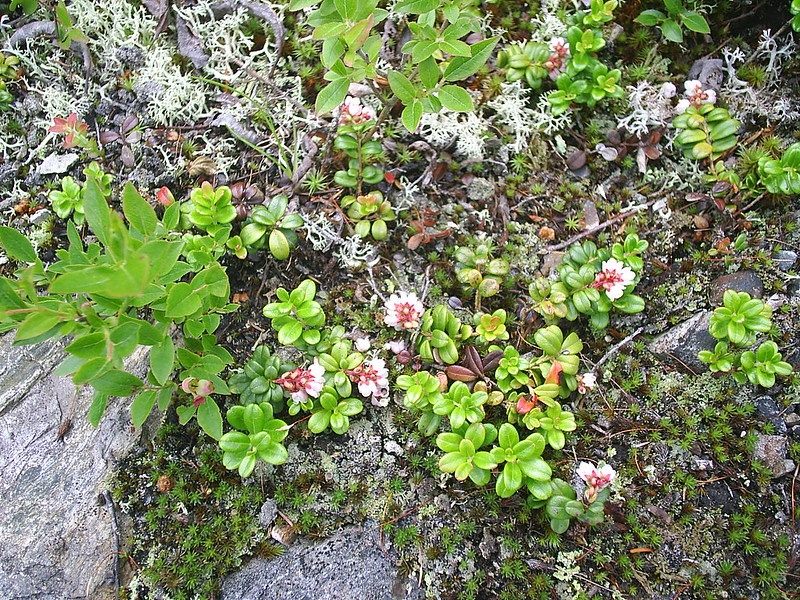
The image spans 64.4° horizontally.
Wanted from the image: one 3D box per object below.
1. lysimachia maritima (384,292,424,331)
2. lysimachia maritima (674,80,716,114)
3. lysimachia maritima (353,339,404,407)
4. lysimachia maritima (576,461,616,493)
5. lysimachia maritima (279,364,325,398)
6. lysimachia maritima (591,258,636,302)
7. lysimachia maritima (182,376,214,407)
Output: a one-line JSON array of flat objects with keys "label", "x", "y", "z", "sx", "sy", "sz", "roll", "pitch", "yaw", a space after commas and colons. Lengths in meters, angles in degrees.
[{"label": "lysimachia maritima", "x": 0.025, "y": 0.077, "z": 4.414, "sx": 0.284, "sy": 0.215, "sz": 0.274, "roll": 14, "pitch": 79, "yaw": 11}, {"label": "lysimachia maritima", "x": 2.147, "y": -1.460, "z": 4.591, "sx": 0.251, "sy": 0.105, "sz": 0.260, "roll": -9, "pitch": 72, "yaw": 18}, {"label": "lysimachia maritima", "x": -0.155, "y": 0.463, "z": 4.225, "sx": 0.408, "sy": 0.166, "sz": 0.427, "roll": -7, "pitch": 79, "yaw": -21}, {"label": "lysimachia maritima", "x": 1.299, "y": 1.184, "z": 4.225, "sx": 0.193, "sy": 0.134, "sz": 0.209, "roll": -23, "pitch": 47, "yaw": -31}, {"label": "lysimachia maritima", "x": -0.663, "y": 0.540, "z": 4.305, "sx": 0.316, "sy": 0.175, "sz": 0.225, "roll": 3, "pitch": 77, "yaw": 8}, {"label": "lysimachia maritima", "x": 1.495, "y": -0.136, "z": 4.387, "sx": 0.253, "sy": 0.179, "sz": 0.287, "roll": 33, "pitch": 83, "yaw": 14}, {"label": "lysimachia maritima", "x": -1.271, "y": 0.582, "z": 4.004, "sx": 0.204, "sy": 0.099, "sz": 0.163, "roll": 30, "pitch": 82, "yaw": 2}]
